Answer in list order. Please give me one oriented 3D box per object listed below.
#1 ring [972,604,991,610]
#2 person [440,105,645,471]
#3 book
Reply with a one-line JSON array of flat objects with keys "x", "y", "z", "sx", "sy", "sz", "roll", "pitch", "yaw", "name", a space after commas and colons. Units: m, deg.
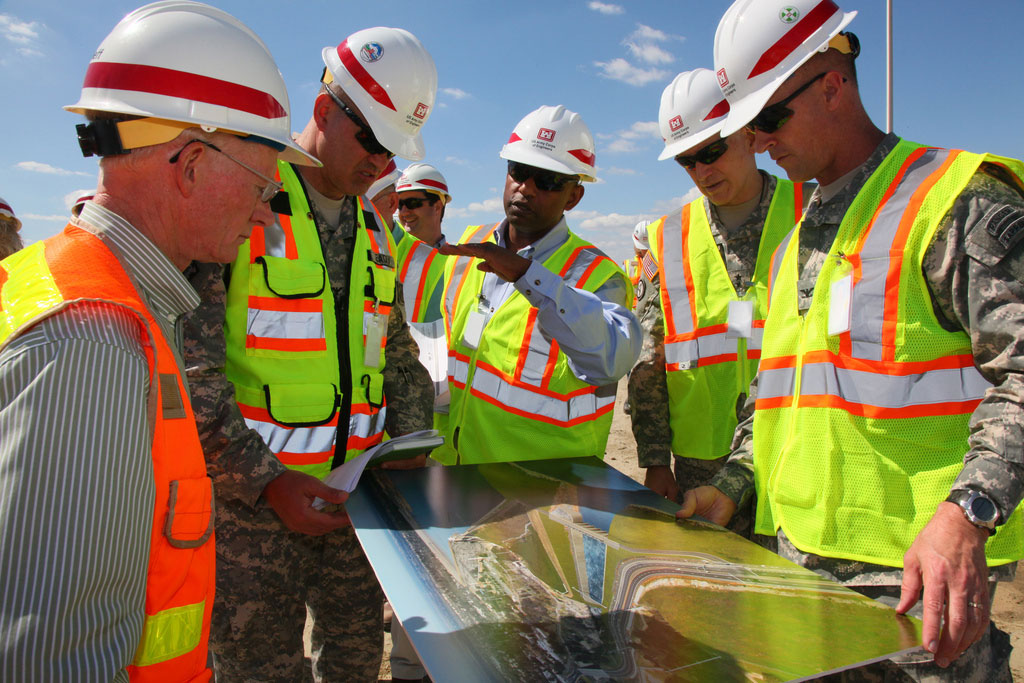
[{"x": 1.611, "y": 0.915, "z": 2.982, "sx": 0.037, "sy": 0.012, "sz": 0.032, "roll": 1, "pitch": -1, "yaw": 38, "name": "ring"}, {"x": 0.106, "y": -0.368, "z": 5.048, "sx": 0.988, "sy": 2.096, "sz": 1.184, "roll": -1, "pitch": -6, "yaw": -19, "name": "person"}, {"x": -0.580, "y": 0.500, "z": 3.824, "sx": 0.395, "sy": 0.136, "sz": 0.403, "roll": -24, "pitch": -3, "yaw": -24, "name": "book"}]
